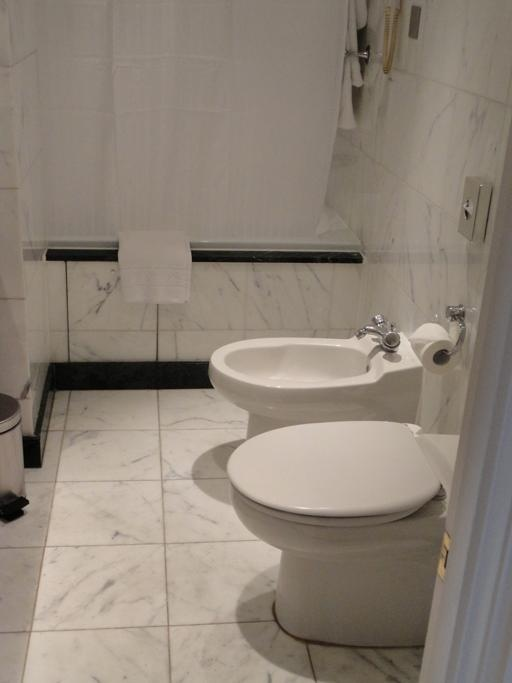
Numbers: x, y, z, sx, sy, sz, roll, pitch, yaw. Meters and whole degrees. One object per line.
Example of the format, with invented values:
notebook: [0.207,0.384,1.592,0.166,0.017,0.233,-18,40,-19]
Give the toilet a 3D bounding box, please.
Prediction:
toilet: [0.199,0.462,1.318,0.459,0.421,0.419,1,15,4]

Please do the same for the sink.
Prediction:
sink: [0.202,0.098,1.839,0.449,0.347,0.404,1,27,1]

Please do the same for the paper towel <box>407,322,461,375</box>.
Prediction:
paper towel: [0.470,0.026,1.465,0.083,0.101,0.135,-10,9,3]
